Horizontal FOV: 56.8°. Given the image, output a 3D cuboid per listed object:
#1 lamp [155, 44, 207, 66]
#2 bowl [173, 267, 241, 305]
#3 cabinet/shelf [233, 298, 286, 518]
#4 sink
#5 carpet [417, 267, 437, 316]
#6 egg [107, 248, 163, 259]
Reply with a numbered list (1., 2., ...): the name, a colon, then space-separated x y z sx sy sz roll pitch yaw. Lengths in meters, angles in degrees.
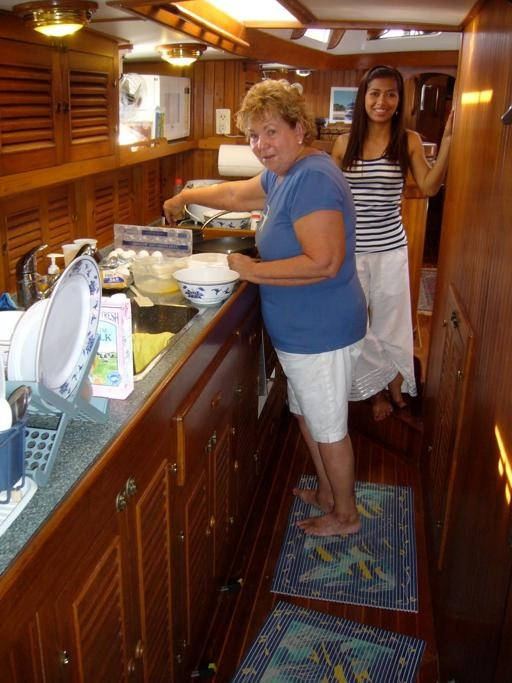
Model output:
1. lamp: -0.399 -1.607 2.655 0.259 0.067 0.246 3 22 14
2. bowl: -0.158 -0.207 1.704 0.172 0.078 0.176 1 27 0
3. cabinet/shelf: 0.012 0.307 2.102 0.245 0.652 0.776 -2 46 8
4. sink: -0.330 -0.033 1.613 0.177 0.081 0.303 10 36 5
5. carpet: 1.629 -0.460 4.490 0.235 0.017 0.762 8 39 6
6. egg: -0.504 -0.352 1.903 0.112 0.043 0.120 4 15 5
